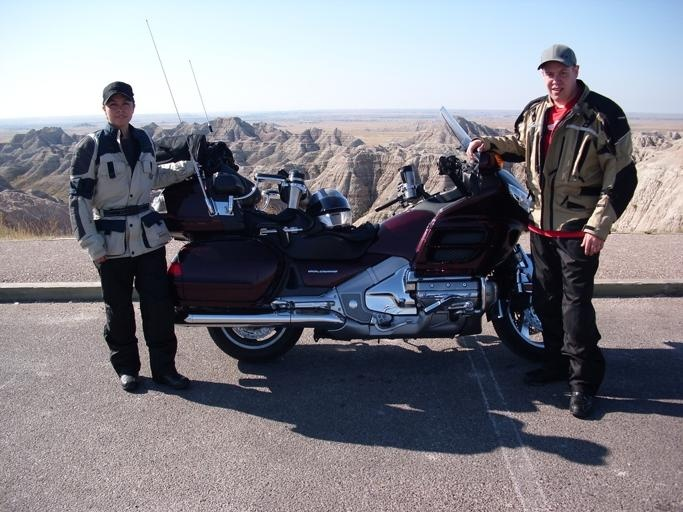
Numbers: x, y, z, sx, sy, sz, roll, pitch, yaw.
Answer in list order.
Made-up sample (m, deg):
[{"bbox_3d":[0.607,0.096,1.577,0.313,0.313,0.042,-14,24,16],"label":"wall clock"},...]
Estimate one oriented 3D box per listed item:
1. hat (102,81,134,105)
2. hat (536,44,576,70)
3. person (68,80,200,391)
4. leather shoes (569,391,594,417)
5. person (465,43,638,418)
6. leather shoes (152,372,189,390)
[{"bbox_3d":[-1.887,-1.356,4.352,0.245,0.174,0.129,-11,21,-20],"label":"hat"},{"bbox_3d":[1.679,-1.529,3.983,0.259,0.165,0.259,2,19,17],"label":"hat"},{"bbox_3d":[-1.805,-0.153,4.581,0.808,2.636,0.815,2,23,18],"label":"person"},{"bbox_3d":[1.944,1.188,4.163,0.136,0.099,0.281,1,3,13],"label":"leather shoes"},{"bbox_3d":[1.875,-0.231,4.267,0.810,2.853,1.339,-12,22,-16],"label":"person"},{"bbox_3d":[-1.570,1.111,4.712,0.384,0.110,0.129,5,19,10],"label":"leather shoes"}]
